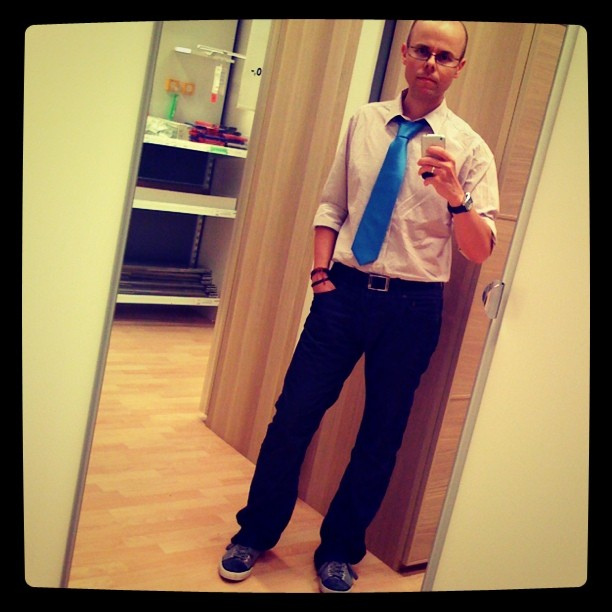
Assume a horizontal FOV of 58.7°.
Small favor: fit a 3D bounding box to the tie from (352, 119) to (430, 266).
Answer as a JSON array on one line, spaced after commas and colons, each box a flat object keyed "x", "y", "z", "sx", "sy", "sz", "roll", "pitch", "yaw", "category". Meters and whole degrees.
[{"x": 0.202, "y": -0.277, "z": 1.304, "sx": 0.083, "sy": 0.360, "sz": 0.162, "roll": 14, "pitch": 11, "yaw": 24, "category": "tie"}]

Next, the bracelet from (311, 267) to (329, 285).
[{"x": 0.037, "y": -0.073, "z": 1.373, "sx": 0.037, "sy": 0.046, "sz": 0.016, "roll": -2, "pitch": 0, "yaw": 15, "category": "bracelet"}]

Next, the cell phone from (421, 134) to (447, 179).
[{"x": 0.288, "y": -0.330, "z": 1.222, "sx": 0.047, "sy": 0.098, "sz": 0.128, "roll": 13, "pitch": 11, "yaw": 19, "category": "cell phone"}]

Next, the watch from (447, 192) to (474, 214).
[{"x": 0.349, "y": -0.220, "z": 1.205, "sx": 0.053, "sy": 0.044, "sz": 0.060, "roll": 0, "pitch": 18, "yaw": 41, "category": "watch"}]

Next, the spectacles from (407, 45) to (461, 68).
[{"x": 0.291, "y": -0.565, "z": 1.236, "sx": 0.119, "sy": 0.034, "sz": 0.024, "roll": 13, "pitch": 10, "yaw": 8, "category": "spectacles"}]

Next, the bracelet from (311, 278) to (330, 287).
[{"x": 0.037, "y": -0.059, "z": 1.373, "sx": 0.046, "sy": 0.030, "sz": 0.025, "roll": 13, "pitch": 11, "yaw": 12, "category": "bracelet"}]
